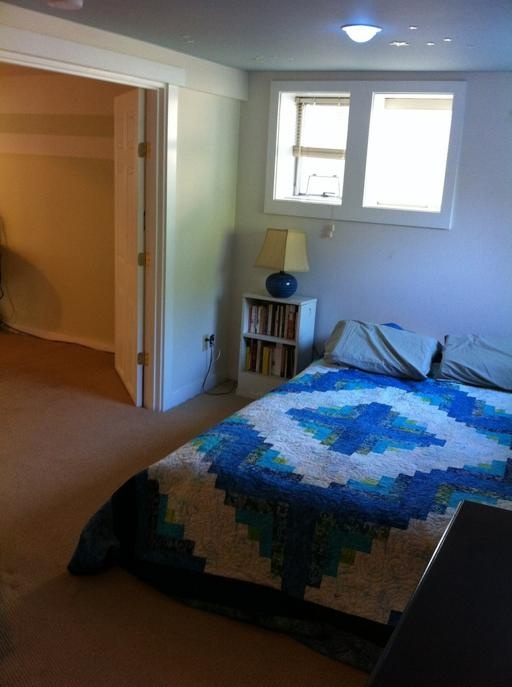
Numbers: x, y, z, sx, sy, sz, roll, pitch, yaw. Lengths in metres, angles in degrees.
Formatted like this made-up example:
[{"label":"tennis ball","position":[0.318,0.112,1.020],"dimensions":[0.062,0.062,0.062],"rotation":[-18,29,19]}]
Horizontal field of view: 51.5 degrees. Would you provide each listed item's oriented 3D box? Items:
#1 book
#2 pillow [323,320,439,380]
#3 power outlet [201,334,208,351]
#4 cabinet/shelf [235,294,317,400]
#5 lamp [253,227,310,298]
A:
[{"label":"book","position":[0.113,-0.028,3.758],"dimensions":[0.413,0.616,0.205],"rotation":[8,14,27]},{"label":"pillow","position":[0.752,0.044,3.170],"dimensions":[0.462,0.147,0.389],"rotation":[12,40,21]},{"label":"power outlet","position":[-0.381,-0.009,3.901],"dimensions":[0.035,0.116,0.110],"rotation":[4,5,24]},{"label":"cabinet/shelf","position":[0.151,0.054,3.778],"dimensions":[0.459,0.816,0.270],"rotation":[10,14,31]},{"label":"lamp","position":[0.223,-0.540,3.639],"dimensions":[0.274,0.465,0.396],"rotation":[14,19,42]}]
